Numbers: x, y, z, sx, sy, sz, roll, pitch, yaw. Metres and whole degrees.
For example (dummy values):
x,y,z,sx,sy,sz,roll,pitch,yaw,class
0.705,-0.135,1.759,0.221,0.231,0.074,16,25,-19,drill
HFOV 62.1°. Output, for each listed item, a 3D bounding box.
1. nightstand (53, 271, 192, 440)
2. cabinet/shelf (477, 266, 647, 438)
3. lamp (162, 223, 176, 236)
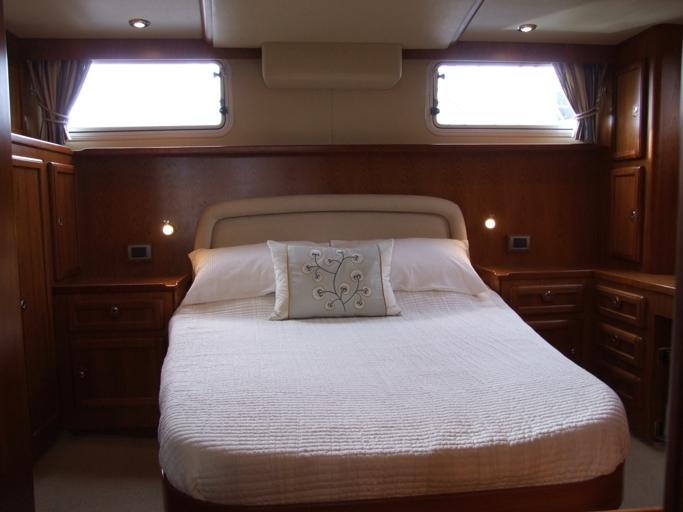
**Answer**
x,y,z,sx,sy,sz,roll,pitch,yaw,class
-1.466,0.655,4.020,0.888,1.347,0.833,0,1,-4,nightstand
1.406,0.598,4.009,1.124,1.184,0.885,-1,4,4,cabinet/shelf
-1.249,-0.186,4.087,0.073,0.113,0.078,-2,-16,4,lamp
